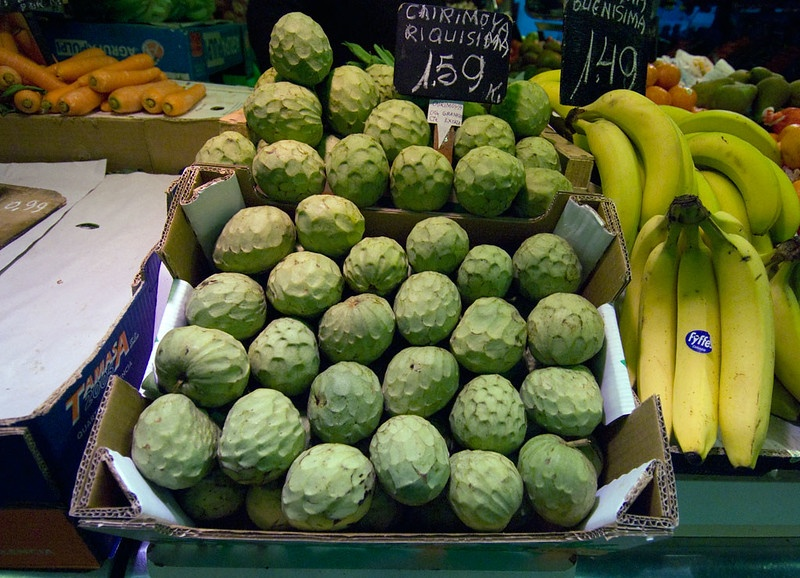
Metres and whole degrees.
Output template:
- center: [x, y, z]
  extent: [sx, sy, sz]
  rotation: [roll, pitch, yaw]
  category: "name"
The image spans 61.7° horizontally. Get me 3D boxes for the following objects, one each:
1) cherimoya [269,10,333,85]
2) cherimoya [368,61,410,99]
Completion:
- center: [-0.568, -1.299, 3.559]
  extent: [0.273, 0.330, 0.289]
  rotation: [29, 25, 14]
  category: "cherimoya"
- center: [-0.083, -1.144, 3.679]
  extent: [0.192, 0.188, 0.170]
  rotation: [-10, 20, -42]
  category: "cherimoya"
